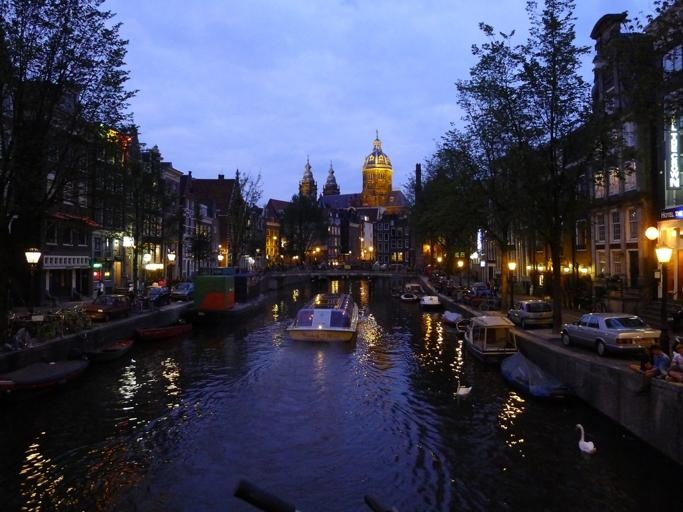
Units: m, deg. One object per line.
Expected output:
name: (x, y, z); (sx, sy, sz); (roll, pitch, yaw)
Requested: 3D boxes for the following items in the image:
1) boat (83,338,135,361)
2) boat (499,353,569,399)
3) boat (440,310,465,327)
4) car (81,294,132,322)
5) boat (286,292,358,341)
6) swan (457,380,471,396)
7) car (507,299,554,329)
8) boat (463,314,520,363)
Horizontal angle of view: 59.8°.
boat: (-13.973, 5.831, 35.661); (1.376, 1.126, 3.717); (1, 9, 5)
boat: (9.579, 6.161, 29.941); (1.429, 1.193, 4.419); (-2, 9, -15)
boat: (9.175, 5.322, 49.072); (0.938, 1.373, 4.426); (0, 9, -3)
car: (-15.969, 3.636, 40.151); (1.084, 1.650, 3.658); (2, 9, 14)
boat: (-1.098, 4.433, 46.178); (4.535, 2.361, 10.747); (1, 9, 4)
swan: (6.259, 6.781, 30.439); (0.790, 0.395, 1.566); (3, 9, 14)
car: (12.481, 3.805, 39.055); (1.834, 1.755, 2.243); (0, 8, -5)
boat: (9.073, 4.966, 35.483); (2.177, 2.556, 3.490); (-1, 9, -7)
